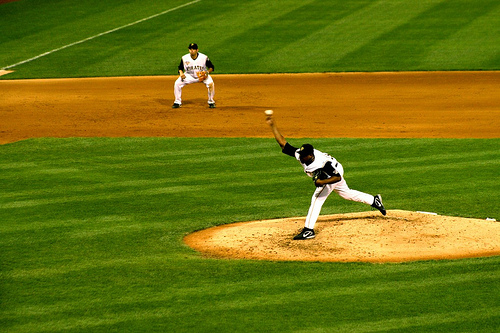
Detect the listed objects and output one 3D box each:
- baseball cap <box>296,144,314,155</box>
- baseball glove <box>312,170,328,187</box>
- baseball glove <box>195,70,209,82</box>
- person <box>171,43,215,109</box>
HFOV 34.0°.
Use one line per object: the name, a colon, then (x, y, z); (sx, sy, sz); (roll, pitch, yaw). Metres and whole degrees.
baseball cap: (1.153, -0.361, 16.208); (0.366, 0.176, 0.262); (-10, 16, -30)
baseball glove: (1.372, 0.220, 16.175); (0.335, 0.310, 0.220); (3, 17, 23)
baseball glove: (-1.471, -2.825, 25.553); (0.389, 0.386, 0.367); (6, 18, 33)
person: (-1.790, -2.828, 25.622); (1.308, 2.037, 0.721); (-5, 17, -4)
